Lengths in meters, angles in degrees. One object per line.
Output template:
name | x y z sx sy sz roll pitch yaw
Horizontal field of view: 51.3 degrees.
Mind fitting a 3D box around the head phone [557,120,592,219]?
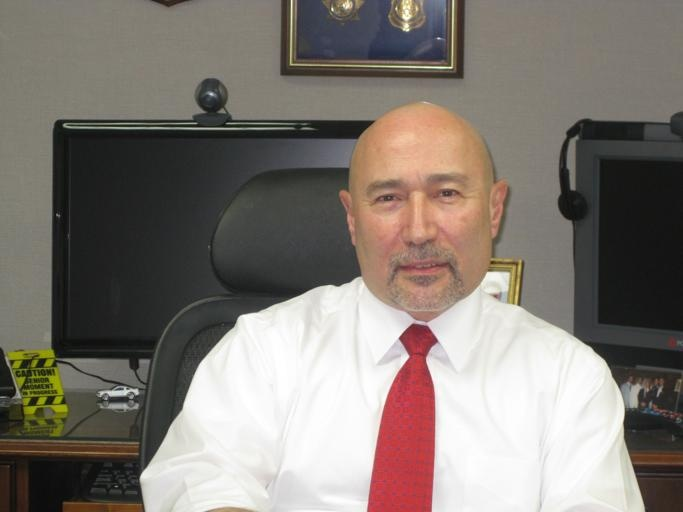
head phone | 0.728 -0.275 2.273 0.083 0.285 0.210 0 15 8

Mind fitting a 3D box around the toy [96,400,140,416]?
toy | -0.691 0.466 2.216 0.084 0.026 0.054 2 5 -9

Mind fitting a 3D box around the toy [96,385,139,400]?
toy | -0.705 0.436 2.254 0.104 0.040 0.054 4 -3 1

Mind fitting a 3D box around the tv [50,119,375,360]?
tv | -0.370 -0.065 1.988 0.642 0.525 0.049 1 -1 -1

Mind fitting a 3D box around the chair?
chair | -0.099 0.108 2.015 0.535 0.839 0.653 2 -1 5

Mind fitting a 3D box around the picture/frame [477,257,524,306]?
picture/frame | 0.457 0.075 2.050 0.112 0.127 0.016 10 -12 5
